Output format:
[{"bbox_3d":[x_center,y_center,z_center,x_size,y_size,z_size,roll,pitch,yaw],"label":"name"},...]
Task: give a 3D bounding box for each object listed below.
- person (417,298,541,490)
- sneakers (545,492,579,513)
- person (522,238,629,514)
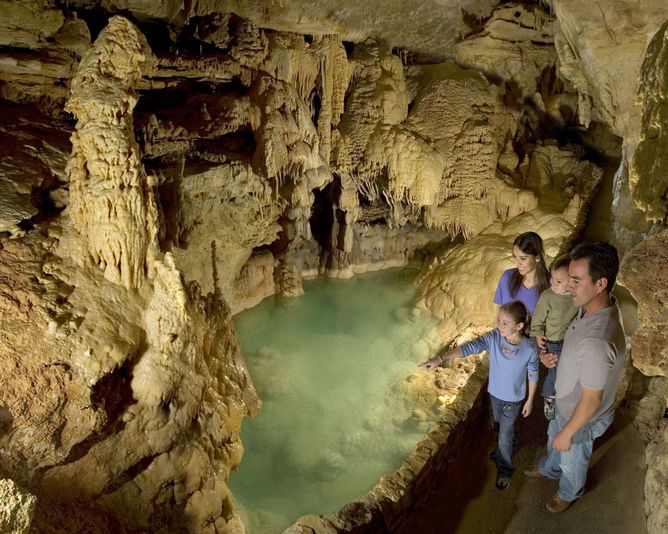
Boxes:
[{"bbox_3d":[1.045,0.924,3.931,0.756,1.421,0.411,0,21,9],"label":"person"},{"bbox_3d":[1.517,1.598,3.630,0.187,0.083,0.101,-27,48,6],"label":"sneakers"},{"bbox_3d":[1.584,0.774,3.615,0.621,2.070,0.886,12,35,28],"label":"person"}]
